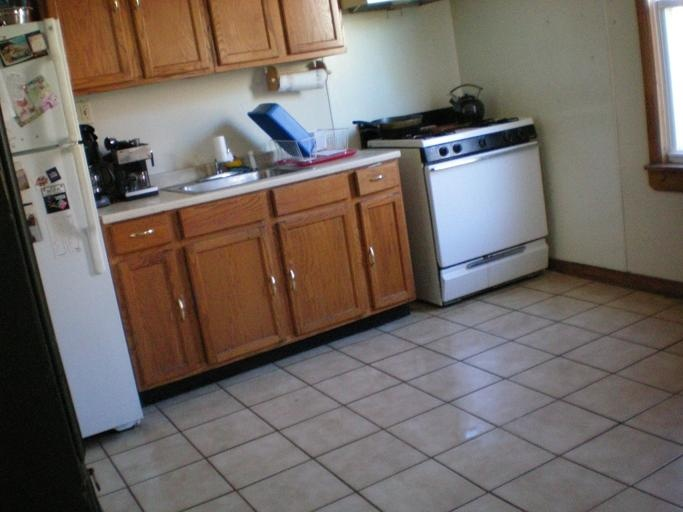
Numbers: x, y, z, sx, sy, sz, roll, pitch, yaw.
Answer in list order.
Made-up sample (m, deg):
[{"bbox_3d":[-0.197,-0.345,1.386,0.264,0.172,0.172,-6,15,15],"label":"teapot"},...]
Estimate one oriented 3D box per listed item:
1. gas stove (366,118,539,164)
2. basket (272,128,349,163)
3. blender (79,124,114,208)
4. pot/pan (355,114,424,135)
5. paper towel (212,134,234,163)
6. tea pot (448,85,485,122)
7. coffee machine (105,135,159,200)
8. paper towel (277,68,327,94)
[{"bbox_3d":[0.784,-0.831,3.657,0.918,0.142,0.613,-13,26,-10],"label":"gas stove"},{"bbox_3d":[-0.093,-0.740,3.489,0.401,0.121,0.275,-16,18,-34],"label":"basket"},{"bbox_3d":[-1.233,-0.486,2.914,0.154,0.430,0.300,-5,17,-24],"label":"blender"},{"bbox_3d":[0.373,-0.915,3.729,0.367,0.056,0.213,-12,16,-24],"label":"pot/pan"},{"bbox_3d":[-0.758,-0.674,3.384,0.109,0.193,0.164,9,22,39],"label":"paper towel"},{"bbox_3d":[0.908,-1.094,3.882,0.282,0.283,0.301,-4,19,1],"label":"tea pot"},{"bbox_3d":[-1.169,-0.474,3.004,0.234,0.365,0.257,-6,19,-34],"label":"coffee machine"},{"bbox_3d":[-0.267,-1.153,3.521,0.407,0.157,0.166,-10,24,-26],"label":"paper towel"}]
